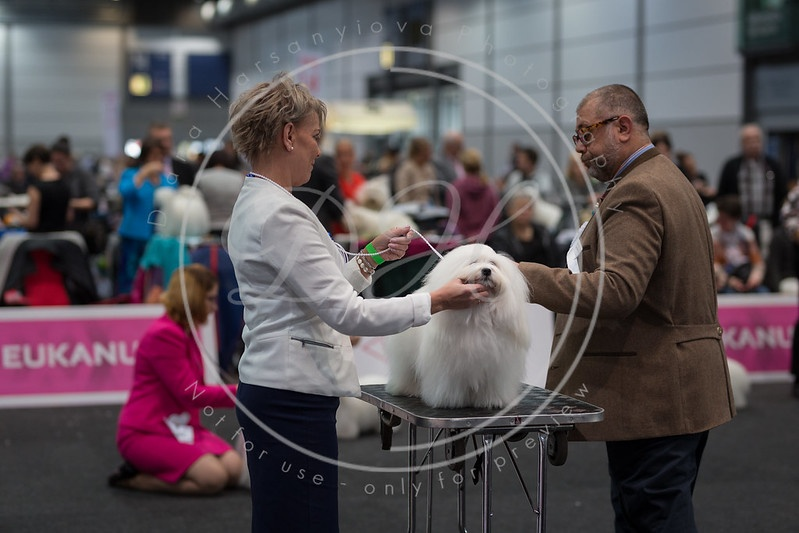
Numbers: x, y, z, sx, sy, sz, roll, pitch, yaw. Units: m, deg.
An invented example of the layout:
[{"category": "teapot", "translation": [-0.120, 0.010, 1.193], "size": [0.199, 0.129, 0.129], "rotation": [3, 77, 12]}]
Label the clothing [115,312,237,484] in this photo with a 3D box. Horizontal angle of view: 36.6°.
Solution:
[{"category": "clothing", "translation": [-1.643, 0.925, 9.368], "size": [1.102, 1.800, 1.164], "rotation": [1, 1, -14]}]

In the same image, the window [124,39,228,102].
[{"category": "window", "translation": [-3.438, -3.004, 18.834], "size": [1.584, 1.060, 0.899], "rotation": [-2, -6, -14]}]

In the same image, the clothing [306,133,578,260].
[{"category": "clothing", "translation": [0.475, -0.675, 11.822], "size": [1.561, 0.662, 2.158], "rotation": [3, 6, 21]}]

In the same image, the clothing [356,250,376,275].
[{"category": "clothing", "translation": [-0.213, -0.024, 7.592], "size": [0.065, 0.135, 0.116], "rotation": [-34, -16, 28]}]

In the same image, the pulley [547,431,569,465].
[{"category": "pulley", "translation": [0.997, 1.134, 7.558], "size": [0.119, 0.235, 0.118], "rotation": [-1, 3, 6]}]

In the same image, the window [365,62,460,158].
[{"category": "window", "translation": [0.244, -2.201, 17.279], "size": [0.172, 1.776, 1.997], "rotation": [11, -9, -43]}]

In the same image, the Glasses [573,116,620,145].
[{"category": "Glasses", "translation": [1.251, -0.867, 7.657], "size": [0.201, 0.061, 0.197], "rotation": [-19, -10, -21]}]

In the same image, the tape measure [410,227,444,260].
[{"category": "tape measure", "translation": [0.238, -0.189, 10.447], "size": [0.073, 0.064, 0.527], "rotation": [17, -22, 39]}]

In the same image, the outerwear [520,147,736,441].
[{"category": "outerwear", "translation": [1.460, 0.155, 8.089], "size": [1.507, 1.776, 1.566], "rotation": [-2, 3, 12]}]

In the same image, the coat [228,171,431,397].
[{"category": "coat", "translation": [-0.500, 0.142, 7.622], "size": [1.306, 1.299, 1.292], "rotation": [5, 3, -41]}]
